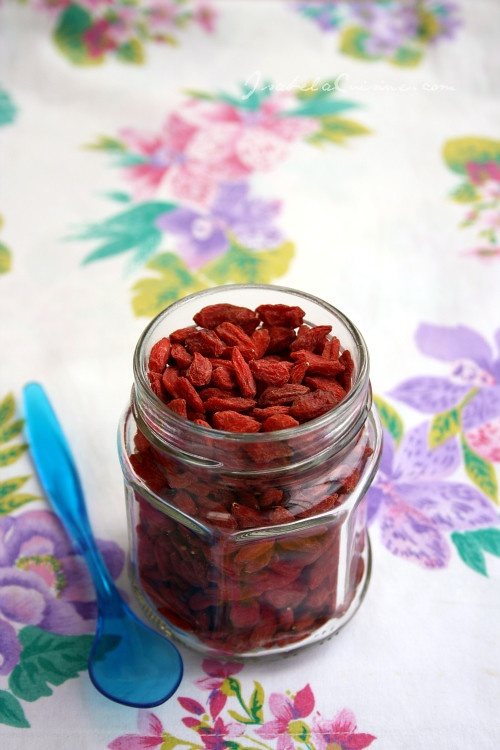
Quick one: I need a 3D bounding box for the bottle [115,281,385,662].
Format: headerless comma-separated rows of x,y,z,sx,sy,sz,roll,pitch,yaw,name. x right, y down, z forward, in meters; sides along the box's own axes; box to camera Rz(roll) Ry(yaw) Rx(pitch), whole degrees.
0.003,0.120,0.784,0.279,0.308,0.265,-9,37,-12,bottle
